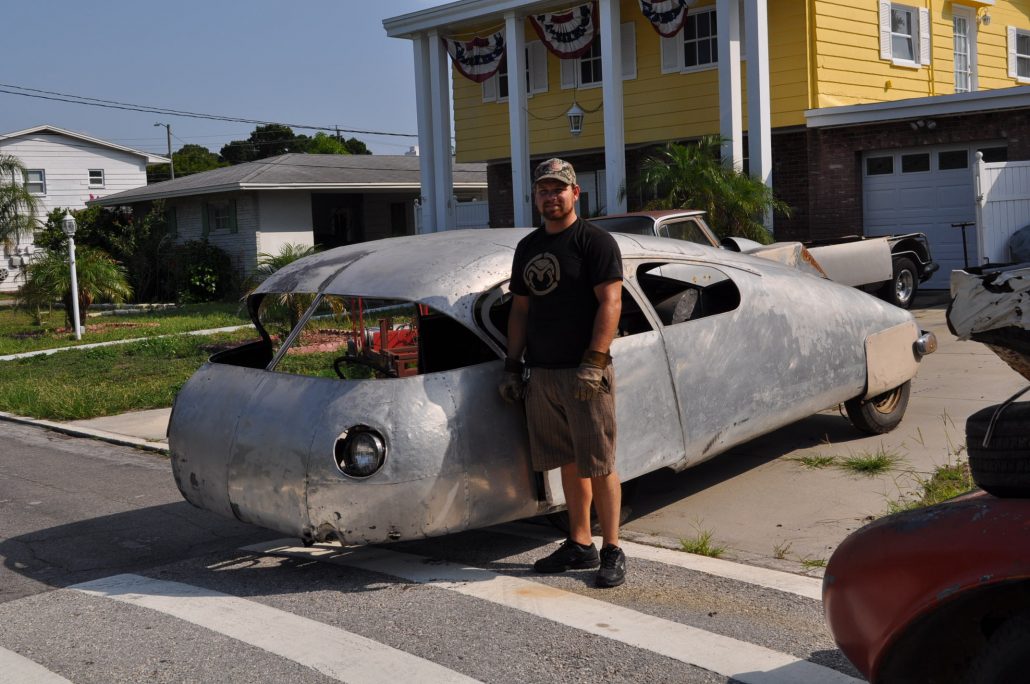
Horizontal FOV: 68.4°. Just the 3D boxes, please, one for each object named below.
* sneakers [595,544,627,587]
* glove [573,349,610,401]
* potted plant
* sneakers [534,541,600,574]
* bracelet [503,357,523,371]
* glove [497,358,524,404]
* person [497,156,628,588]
[{"bbox_3d":[0.609,1.414,4.806,0.188,0.223,0.256,-1,7,8],"label":"sneakers"},{"bbox_3d":[0.470,0.239,4.676,0.212,0.165,0.306,15,-31,-4],"label":"glove"},{"bbox_3d":[-12.557,-1.736,21.825,2.999,2.887,3.132,2,3,38],"label":"potted plant"},{"bbox_3d":[0.354,1.401,4.943,0.462,0.227,0.176,2,-4,-9],"label":"sneakers"},{"bbox_3d":[-0.014,0.141,4.823,0.079,0.060,0.081,3,5,33],"label":"bracelet"},{"bbox_3d":[-0.016,0.239,4.854,0.109,0.253,0.179,22,-3,-28],"label":"glove"},{"bbox_3d":[0.312,0.173,4.844,0.743,2.692,0.531,-1,6,13],"label":"person"}]
